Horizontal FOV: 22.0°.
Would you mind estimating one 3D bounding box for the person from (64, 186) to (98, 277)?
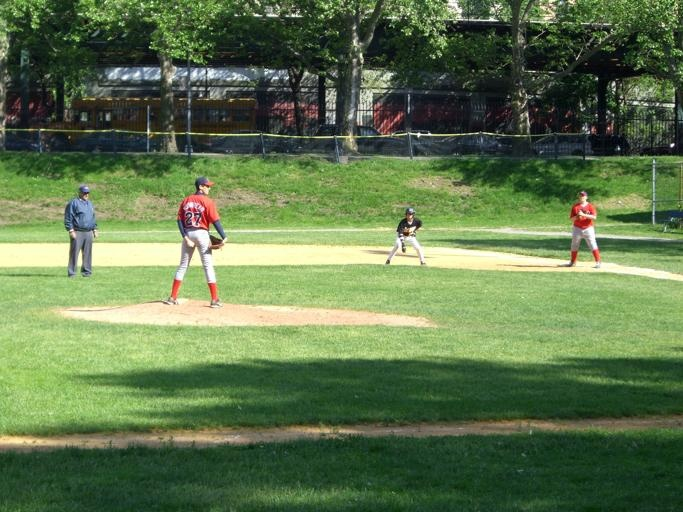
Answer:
[{"bbox_3d":[-10.307,-0.908,69.453,1.164,3.626,0.877,1,4,-9],"label":"person"}]

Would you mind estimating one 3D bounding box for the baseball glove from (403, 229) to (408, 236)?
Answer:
[{"bbox_3d":[2.641,-0.883,71.965,0.222,0.280,0.048,2,4,3],"label":"baseball glove"}]

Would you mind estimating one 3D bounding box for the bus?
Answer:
[{"bbox_3d":[-10.593,-7.151,96.949,16.331,4.337,4.295,0,2,-5],"label":"bus"}]
